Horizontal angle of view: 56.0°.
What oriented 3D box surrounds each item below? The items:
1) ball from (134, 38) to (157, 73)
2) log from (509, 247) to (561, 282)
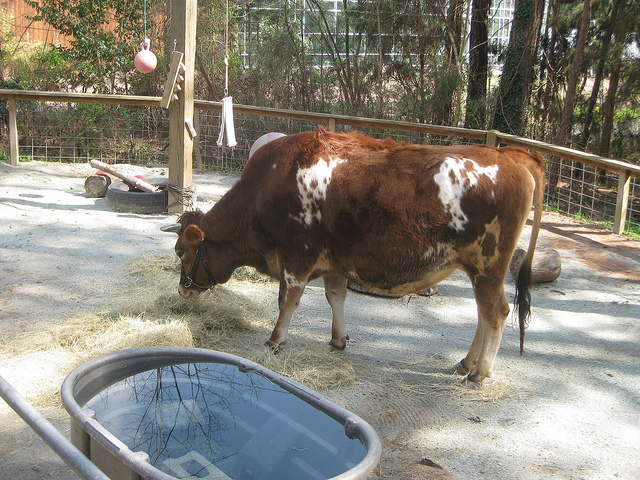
[{"bbox_3d":[-2.414,-2.560,8.292,0.286,0.460,1.102,-1,14,-16],"label":"ball"},{"bbox_3d":[2.638,0.305,7.438,0.570,0.495,0.626,5,13,36],"label":"log"}]
